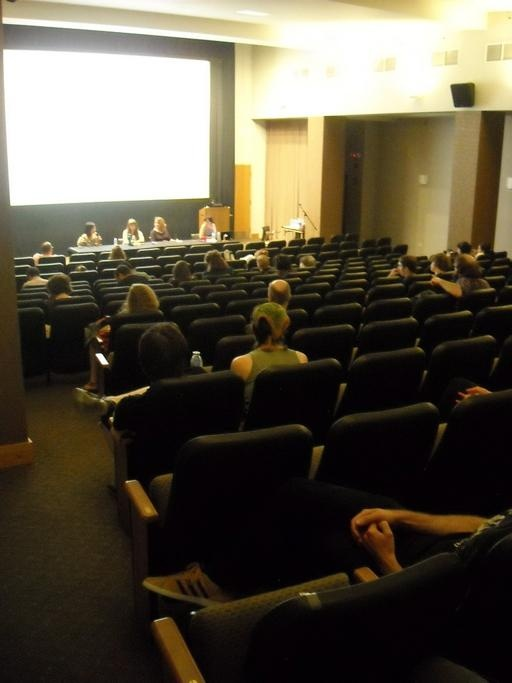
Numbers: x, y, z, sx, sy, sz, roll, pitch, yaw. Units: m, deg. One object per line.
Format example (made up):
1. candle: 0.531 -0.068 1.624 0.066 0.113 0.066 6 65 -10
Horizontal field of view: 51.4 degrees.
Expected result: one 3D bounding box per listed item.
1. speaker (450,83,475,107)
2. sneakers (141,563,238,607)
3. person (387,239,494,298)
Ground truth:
1. speaker: 4.227 -5.034 10.943 0.338 0.466 0.416 -8 14 -36
2. sneakers: -0.218 0.817 1.800 0.305 0.119 0.100 19 -24 -12
3. person: 2.122 -0.712 6.267 0.623 0.704 1.043 -15 35 -21
